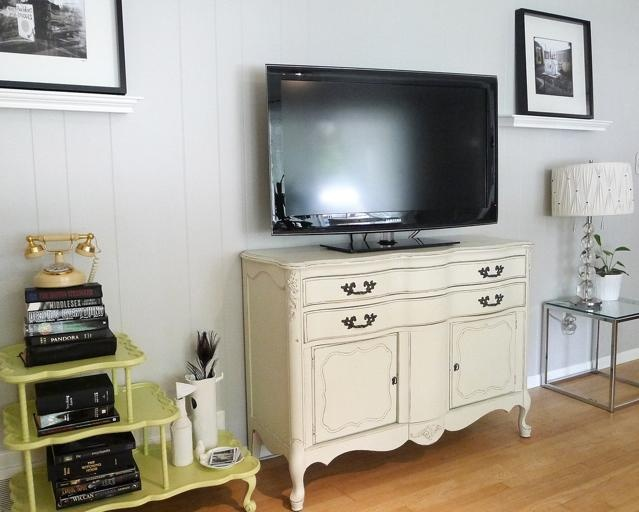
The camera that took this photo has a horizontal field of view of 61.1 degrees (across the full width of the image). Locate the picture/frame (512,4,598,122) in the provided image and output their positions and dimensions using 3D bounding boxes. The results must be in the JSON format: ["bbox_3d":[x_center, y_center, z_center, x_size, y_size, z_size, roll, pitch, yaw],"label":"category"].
[{"bbox_3d":[1.487,-1.230,3.445,0.856,0.905,0.065,1,-1,-30],"label":"picture/frame"}]

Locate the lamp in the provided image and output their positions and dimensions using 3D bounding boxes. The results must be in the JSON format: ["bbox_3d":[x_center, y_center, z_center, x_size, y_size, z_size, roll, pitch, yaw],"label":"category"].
[{"bbox_3d":[1.742,-0.137,3.497,0.483,0.915,0.415,5,12,27],"label":"lamp"}]

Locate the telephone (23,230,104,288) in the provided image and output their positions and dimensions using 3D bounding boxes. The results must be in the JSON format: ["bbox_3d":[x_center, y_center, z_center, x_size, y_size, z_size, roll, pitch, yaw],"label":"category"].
[{"bbox_3d":[-1.055,0.023,2.250,0.290,0.239,0.284,-7,12,-27],"label":"telephone"}]

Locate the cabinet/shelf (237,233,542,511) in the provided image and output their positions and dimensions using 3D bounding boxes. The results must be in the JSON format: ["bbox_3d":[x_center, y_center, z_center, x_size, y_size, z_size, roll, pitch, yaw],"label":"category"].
[{"bbox_3d":[0.291,0.573,2.592,1.169,0.854,0.458,-5,9,-32],"label":"cabinet/shelf"}]

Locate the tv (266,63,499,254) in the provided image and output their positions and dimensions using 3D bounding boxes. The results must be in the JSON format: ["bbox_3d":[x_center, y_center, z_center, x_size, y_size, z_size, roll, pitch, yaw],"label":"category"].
[{"bbox_3d":[0.334,-0.476,2.822,1.330,0.886,0.298,-4,7,-19],"label":"tv"}]

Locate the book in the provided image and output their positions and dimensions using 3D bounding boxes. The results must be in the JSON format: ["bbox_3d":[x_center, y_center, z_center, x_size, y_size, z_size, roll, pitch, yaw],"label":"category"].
[{"bbox_3d":[-0.962,0.519,2.173,0.481,0.841,0.380,-6,12,-24],"label":"book"}]

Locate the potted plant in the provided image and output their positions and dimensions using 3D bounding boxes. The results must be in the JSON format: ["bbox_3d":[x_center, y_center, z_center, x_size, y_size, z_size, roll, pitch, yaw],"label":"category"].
[{"bbox_3d":[1.960,0.087,3.625,0.298,0.387,0.277,-10,9,-5],"label":"potted plant"}]
